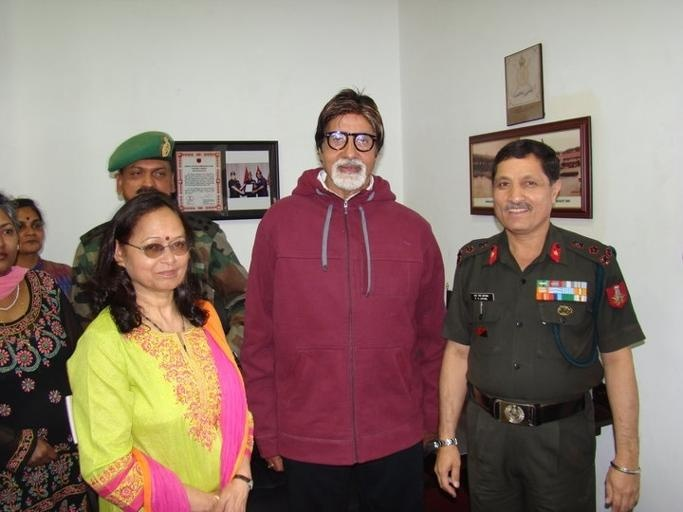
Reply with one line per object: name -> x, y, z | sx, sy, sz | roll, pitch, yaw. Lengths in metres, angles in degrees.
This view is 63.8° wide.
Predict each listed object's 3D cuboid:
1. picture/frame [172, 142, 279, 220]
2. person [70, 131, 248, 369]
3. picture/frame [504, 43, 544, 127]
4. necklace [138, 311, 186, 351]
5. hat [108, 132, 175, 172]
picture/frame -> -0.739, -0.465, 3.366 | 0.605, 0.444, 0.027 | -2, 2, -13
person -> -0.881, 0.005, 2.616 | 0.823, 1.203, 0.694 | -4, 0, -12
picture/frame -> 0.923, -0.856, 2.761 | 0.055, 0.368, 0.263 | -2, 6, -17
necklace -> -0.603, 0.237, 1.840 | 0.193, 0.027, 0.070 | 41, 37, 14
hat -> -1.048, -0.543, 2.785 | 0.370, 0.139, 0.318 | -9, 17, 3
